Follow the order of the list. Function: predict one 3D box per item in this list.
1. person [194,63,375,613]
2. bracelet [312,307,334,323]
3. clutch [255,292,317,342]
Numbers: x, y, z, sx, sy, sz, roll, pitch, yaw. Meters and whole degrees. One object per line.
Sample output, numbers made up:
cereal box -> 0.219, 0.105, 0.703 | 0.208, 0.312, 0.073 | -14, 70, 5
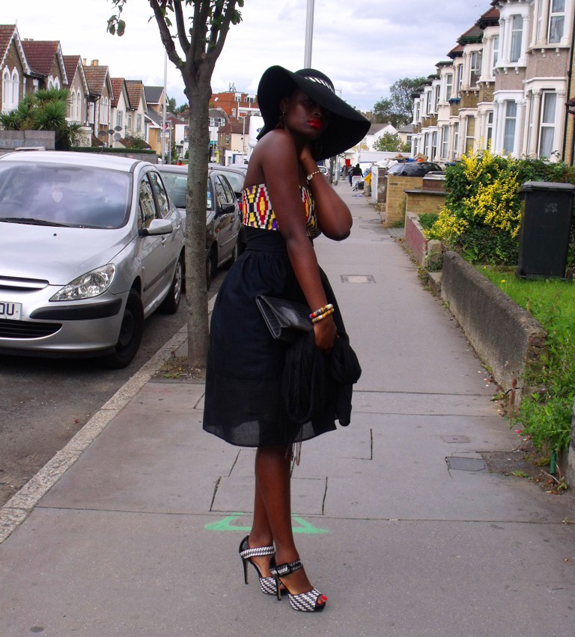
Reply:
person -> -0.002, 0.067, 2.055 | 0.561, 1.864, 0.462 | -1, 5, -20
bracelet -> 0.106, -0.009, 1.850 | 0.053, 0.022, 0.043 | -35, -11, 13
clutch -> -0.010, -0.002, 1.860 | 0.171, 0.130, 0.122 | 0, 5, -16
